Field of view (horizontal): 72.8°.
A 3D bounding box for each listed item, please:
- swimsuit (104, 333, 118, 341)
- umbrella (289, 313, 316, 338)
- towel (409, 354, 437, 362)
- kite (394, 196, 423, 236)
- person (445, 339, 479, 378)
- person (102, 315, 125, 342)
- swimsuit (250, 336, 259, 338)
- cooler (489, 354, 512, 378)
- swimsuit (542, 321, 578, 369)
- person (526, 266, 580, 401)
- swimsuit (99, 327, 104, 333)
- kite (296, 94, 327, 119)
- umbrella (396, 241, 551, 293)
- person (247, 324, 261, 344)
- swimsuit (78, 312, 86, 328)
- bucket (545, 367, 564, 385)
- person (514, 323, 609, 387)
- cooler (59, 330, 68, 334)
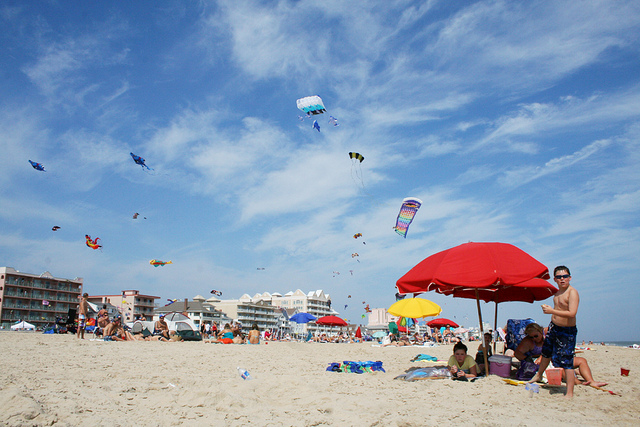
[{"bbox_3d":[-7.755,4.559,16.018,0.350,0.133,0.365,-3,-2,20],"label":"swimsuit"},{"bbox_3d":[-1.170,7.393,29.531,1.235,1.162,1.224,-4,-7,39],"label":"umbrella"},{"bbox_3d":[3.048,4.207,12.628,0.771,0.227,0.572,-2,-18,19],"label":"towel"},{"bbox_3d":[3.633,0.074,17.876,0.746,2.122,0.258,11,-48,18],"label":"kite"},{"bbox_3d":[3.010,3.097,9.220,0.642,0.712,0.962,-3,-12,32],"label":"person"},{"bbox_3d":[-7.734,4.365,16.469,0.827,0.887,0.847,-2,-12,12],"label":"person"},{"bbox_3d":[-3.021,5.565,19.657,0.352,0.062,0.143,-3,-18,21],"label":"swimsuit"},{"bbox_3d":[3.737,3.122,8.915,0.459,0.374,0.344,-2,-8,22],"label":"cooler"},{"bbox_3d":[4.444,2.426,7.998,0.699,0.800,0.415,-13,-24,43],"label":"swimsuit"},{"bbox_3d":[4.355,2.183,7.980,0.685,2.292,1.214,1,-18,10],"label":"person"},{"bbox_3d":[-8.985,4.748,17.722,0.142,0.193,0.200,9,-31,-16],"label":"swimsuit"},{"bbox_3d":[-0.341,-4.780,19.677,0.943,0.816,1.152,13,-19,-27],"label":"kite"},{"bbox_3d":[3.045,1.099,8.529,1.462,0.490,1.468,-12,-18,17],"label":"umbrella"},{"bbox_3d":[-2.987,5.449,19.666,0.447,0.858,0.861,8,-18,-11],"label":"person"},{"bbox_3d":[-8.970,3.982,16.267,0.168,0.538,0.452,7,-18,-9],"label":"swimsuit"},{"bbox_3d":[4.457,3.046,8.289,0.365,0.303,0.367,2,-13,1],"label":"bucket"},{"bbox_3d":[4.937,2.880,8.769,1.823,1.000,0.726,1,-18,41],"label":"person"},{"bbox_3d":[-12.930,5.906,21.782,0.362,0.161,0.449,11,-18,-25],"label":"cooler"}]
